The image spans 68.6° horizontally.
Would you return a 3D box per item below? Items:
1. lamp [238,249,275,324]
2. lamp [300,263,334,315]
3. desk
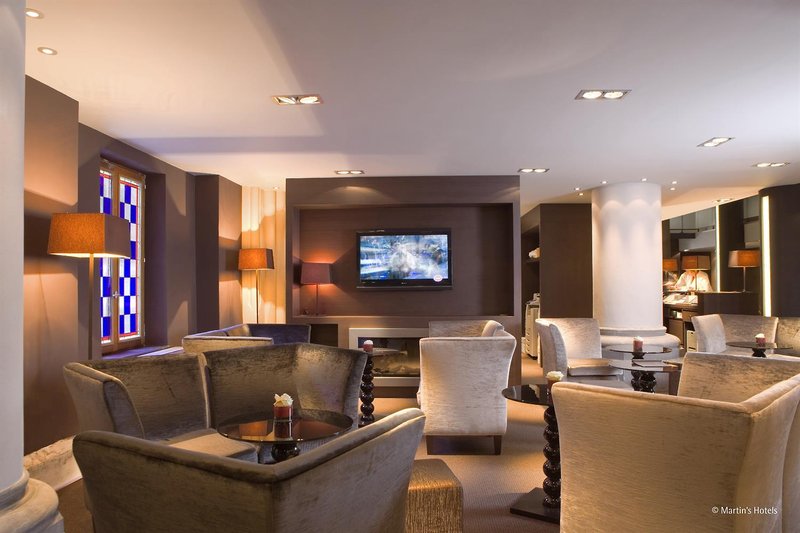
[{"bbox_3d":[-2.033,0.248,8.327,0.495,1.065,0.612,-2,-3,-12],"label":"lamp"},{"bbox_3d":[-1.125,0.294,8.003,0.408,0.693,0.479,-2,-3,-5],"label":"lamp"},{"bbox_3d":[1.542,1.430,4.724,1.400,0.983,1.310,-3,-8,27],"label":"desk"}]
